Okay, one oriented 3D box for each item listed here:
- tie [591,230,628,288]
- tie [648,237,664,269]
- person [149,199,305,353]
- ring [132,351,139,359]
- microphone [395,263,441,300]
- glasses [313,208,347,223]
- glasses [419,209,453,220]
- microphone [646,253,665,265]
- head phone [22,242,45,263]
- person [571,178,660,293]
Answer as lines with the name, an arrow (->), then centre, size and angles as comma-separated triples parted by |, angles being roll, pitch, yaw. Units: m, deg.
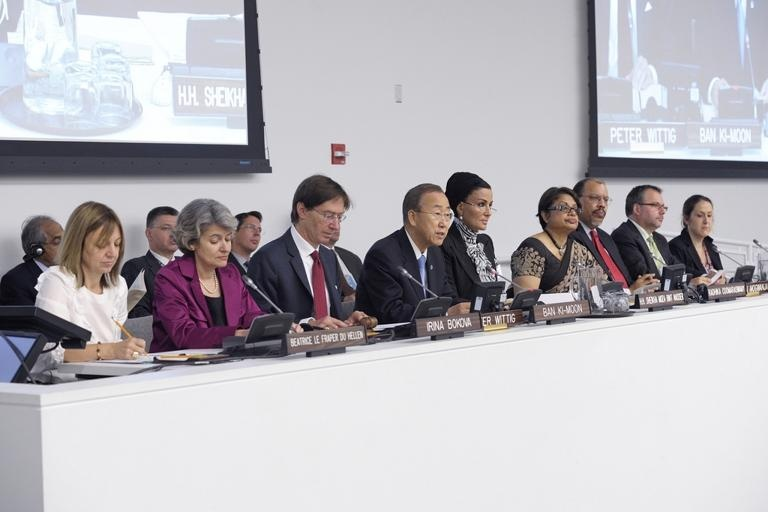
tie -> 1.288, 0.012, 4.276 | 0.112, 0.345, 0.250 | -22, 13, 16
tie -> 1.701, -0.018, 4.653 | 0.042, 0.181, 0.102 | -25, -16, 35
person -> -0.658, 0.080, 3.267 | 0.695, 0.760, 0.535 | -3, -2, 27
ring -> -0.862, 0.341, 2.577 | 0.018, 0.013, 0.017 | -1, -9, 0
microphone -> 0.146, 0.115, 3.402 | 0.032, 0.033, 0.308 | -35, -39, 14
glasses -> -0.262, -0.195, 3.394 | 0.082, 0.026, 0.084 | 5, 8, -42
glasses -> 0.240, -0.191, 3.404 | 0.143, 0.050, 0.039 | -3, 2, -21
microphone -> 1.656, 0.015, 4.547 | 0.058, 0.063, 0.045 | -3, -10, -39
head phone -> -2.028, -0.029, 4.292 | 0.080, 0.123, 0.093 | 20, 22, -11
person -> 1.382, -0.149, 4.496 | 0.660, 0.750, 0.457 | -4, -5, 24
